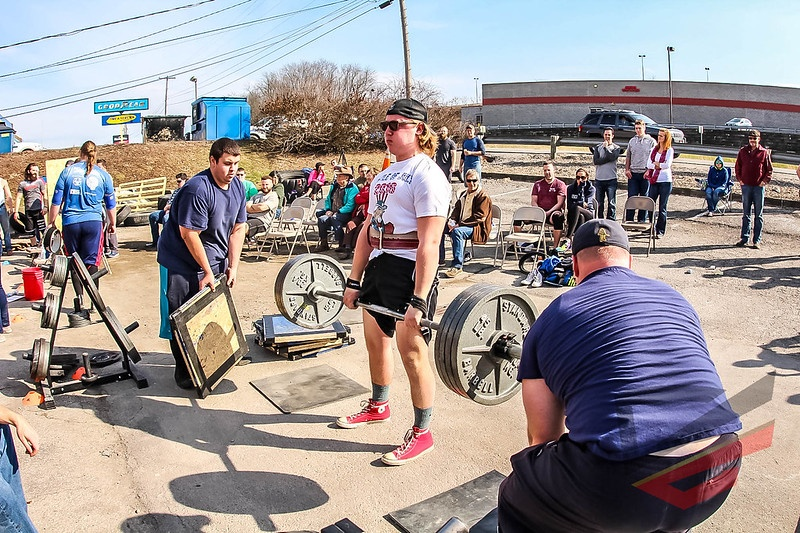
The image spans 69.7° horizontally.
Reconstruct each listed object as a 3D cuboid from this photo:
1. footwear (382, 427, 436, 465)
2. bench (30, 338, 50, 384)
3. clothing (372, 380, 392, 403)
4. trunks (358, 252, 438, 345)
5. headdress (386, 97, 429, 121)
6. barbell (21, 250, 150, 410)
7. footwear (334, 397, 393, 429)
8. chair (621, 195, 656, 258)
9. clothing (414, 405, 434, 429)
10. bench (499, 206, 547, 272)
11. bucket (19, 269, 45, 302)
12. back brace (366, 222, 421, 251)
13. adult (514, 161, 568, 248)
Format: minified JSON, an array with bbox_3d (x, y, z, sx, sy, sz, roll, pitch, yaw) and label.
[{"bbox_3d":[0.079,1.452,4.618,0.538,0.224,0.185,-9,10,-35],"label":"footwear"},{"bbox_3d":[-3.423,0.888,5.548,0.186,0.309,0.348,0,-2,-26],"label":"bench"},{"bbox_3d":[-0.190,1.094,5.037,0.177,0.176,0.171,2,7,-8],"label":"clothing"},{"bbox_3d":[-0.016,0.246,4.513,0.702,0.627,0.438,12,6,37],"label":"trunks"},{"bbox_3d":[0.050,-1.228,4.494,0.259,0.159,0.201,23,1,-6],"label":"headdress"},{"bbox_3d":[-3.553,0.682,6.136,1.247,1.370,1.413,-13,4,31],"label":"barbell"},{"bbox_3d":[-0.318,1.300,5.157,0.603,0.261,0.197,-2,4,-11],"label":"footwear"},{"bbox_3d":[4.416,-0.778,10.794,0.691,0.976,0.696,3,18,21],"label":"chair"},{"bbox_3d":[0.161,1.198,4.653,0.209,0.252,0.166,1,2,-2],"label":"clothing"},{"bbox_3d":[2.298,-0.522,10.677,0.769,0.875,0.758,3,-5,-15],"label":"bench"},{"bbox_3d":[-5.597,0.272,8.787,0.412,0.402,0.396,-2,11,0],"label":"bucket"},{"bbox_3d":[-0.068,-0.247,4.587,0.284,0.149,0.225,5,8,26],"label":"back brace"},{"bbox_3d":[2.547,-1.089,10.471,1.128,1.550,1.054,-4,16,-6],"label":"adult"}]
